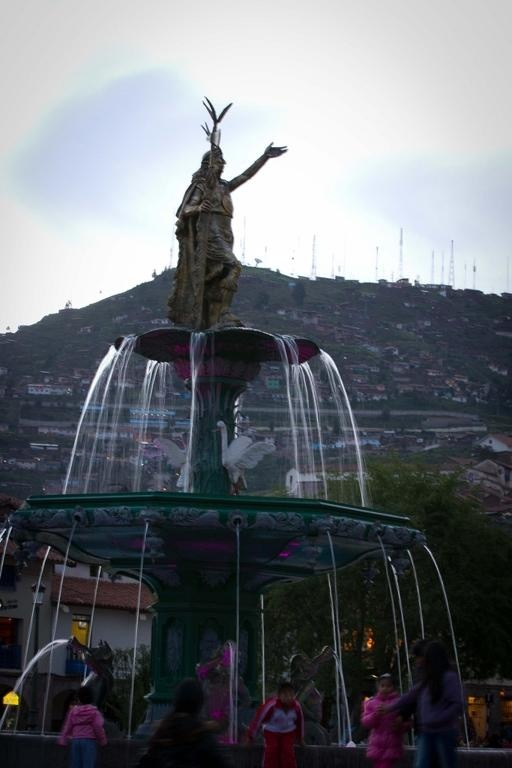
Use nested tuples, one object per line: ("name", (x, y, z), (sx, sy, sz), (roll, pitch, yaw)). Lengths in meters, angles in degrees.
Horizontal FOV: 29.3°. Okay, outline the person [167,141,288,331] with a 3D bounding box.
("person", (-0.732, -2.109, 14.129), (0.990, 2.967, 0.572), (-1, -20, -1))
